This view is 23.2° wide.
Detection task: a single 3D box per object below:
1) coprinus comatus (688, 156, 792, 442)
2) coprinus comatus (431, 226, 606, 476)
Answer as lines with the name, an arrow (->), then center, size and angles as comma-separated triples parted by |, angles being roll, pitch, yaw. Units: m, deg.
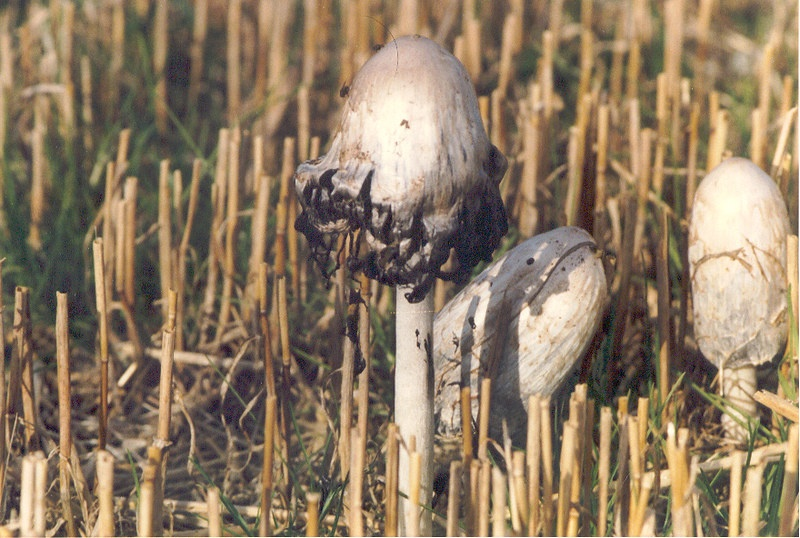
coprinus comatus -> 1.058, 0.005, 6.097 | 0.310, 0.676, 0.175 | 0, -7, 11
coprinus comatus -> 0.334, 0.251, 6.090 | 0.404, 0.773, 0.285 | 44, 9, 37
